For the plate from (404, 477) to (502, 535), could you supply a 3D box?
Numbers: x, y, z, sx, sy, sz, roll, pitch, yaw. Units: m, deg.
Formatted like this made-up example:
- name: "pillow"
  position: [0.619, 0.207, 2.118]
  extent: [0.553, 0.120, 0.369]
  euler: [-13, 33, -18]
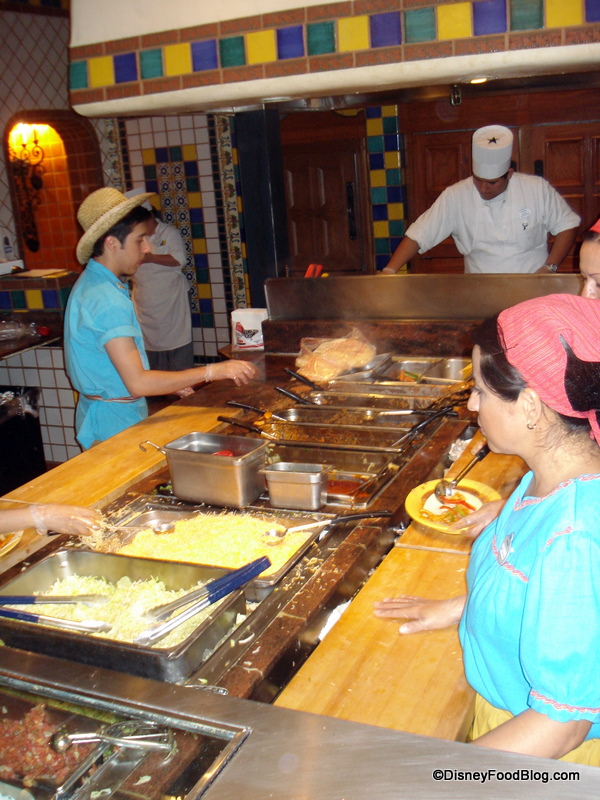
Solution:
- name: "plate"
  position: [0.382, 0.271, 1.654]
  extent: [0.154, 0.033, 0.158]
  euler: [12, 26, 36]

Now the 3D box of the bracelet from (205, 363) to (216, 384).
- name: "bracelet"
  position: [-0.392, -0.118, 2.718]
  extent: [0.024, 0.065, 0.052]
  euler: [5, 7, 14]

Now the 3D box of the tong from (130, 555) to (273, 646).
- name: "tong"
  position: [-0.171, 0.381, 1.232]
  extent: [0.290, 0.031, 0.080]
  euler: [-23, 23, -19]

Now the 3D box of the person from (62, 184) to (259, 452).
- name: "person"
  position: [-0.734, -0.362, 2.748]
  extent: [0.584, 1.114, 0.555]
  euler: [-15, 11, -31]

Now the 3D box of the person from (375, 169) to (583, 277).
- name: "person"
  position: [1.370, -1.254, 4.326]
  extent: [1.492, 0.800, 0.808]
  euler: [6, 43, 17]
